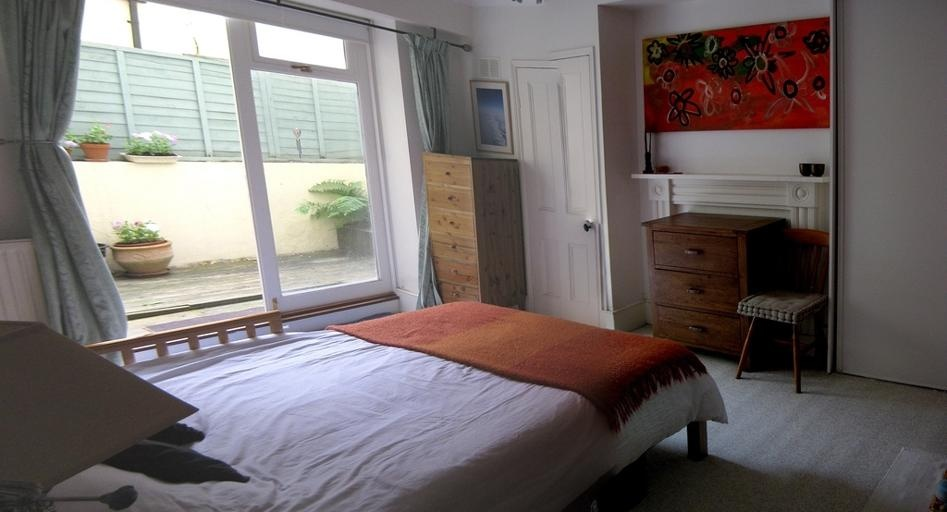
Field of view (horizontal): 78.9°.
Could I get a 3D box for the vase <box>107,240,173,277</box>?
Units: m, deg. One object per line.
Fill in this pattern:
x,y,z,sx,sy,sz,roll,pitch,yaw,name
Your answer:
-3.337,0.002,5.778,0.456,0.240,0.410,1,13,18,vase

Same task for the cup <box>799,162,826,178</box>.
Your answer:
2.829,-0.726,4.841,0.247,0.117,0.126,-2,12,-12,cup

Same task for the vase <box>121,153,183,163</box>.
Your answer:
-3.187,-0.961,5.690,0.245,0.122,0.498,6,15,43,vase

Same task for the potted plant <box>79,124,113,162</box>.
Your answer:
-3.486,-1.031,5.312,0.279,0.244,0.223,1,14,-21,potted plant

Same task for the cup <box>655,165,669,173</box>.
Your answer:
1.800,-0.831,5.512,0.111,0.062,0.097,-2,13,-9,cup

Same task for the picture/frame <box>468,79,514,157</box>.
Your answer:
0.190,-1.451,6.017,0.479,0.784,0.084,4,18,36,picture/frame

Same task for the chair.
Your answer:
2.570,0.410,4.754,0.562,1.196,0.792,5,17,39,chair

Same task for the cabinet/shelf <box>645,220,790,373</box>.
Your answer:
2.308,0.288,5.214,0.962,1.175,1.152,-12,10,-37,cabinet/shelf
